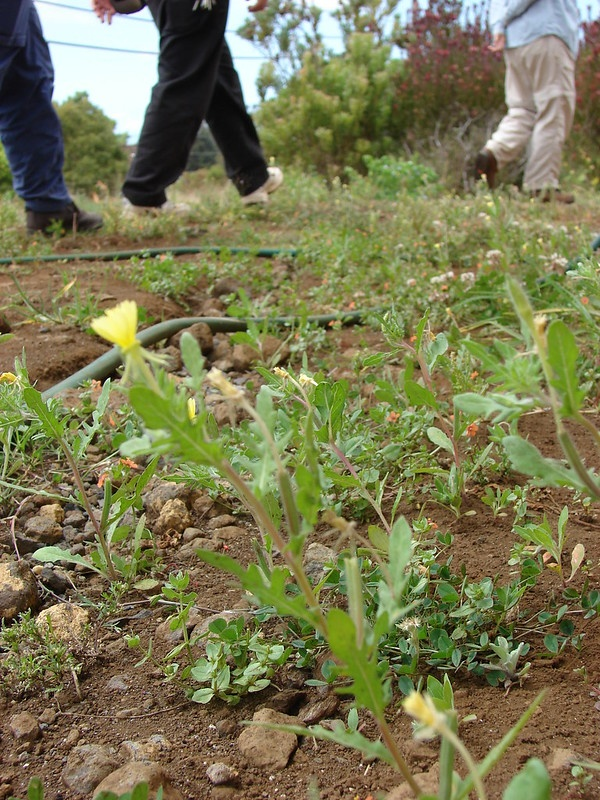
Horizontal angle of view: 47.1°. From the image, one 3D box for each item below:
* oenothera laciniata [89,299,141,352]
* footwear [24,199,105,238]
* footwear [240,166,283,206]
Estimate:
[{"bbox_3d":[-0.156,-0.057,0.597,0.057,0.046,0.024,-2,-8,12],"label":"oenothera laciniata"},{"bbox_3d":[-1.338,-1.114,4.182,0.544,0.207,0.183,-12,32,-28],"label":"footwear"},{"bbox_3d":[-0.245,-1.546,5.077,0.373,0.123,0.268,-34,-10,-20],"label":"footwear"}]
